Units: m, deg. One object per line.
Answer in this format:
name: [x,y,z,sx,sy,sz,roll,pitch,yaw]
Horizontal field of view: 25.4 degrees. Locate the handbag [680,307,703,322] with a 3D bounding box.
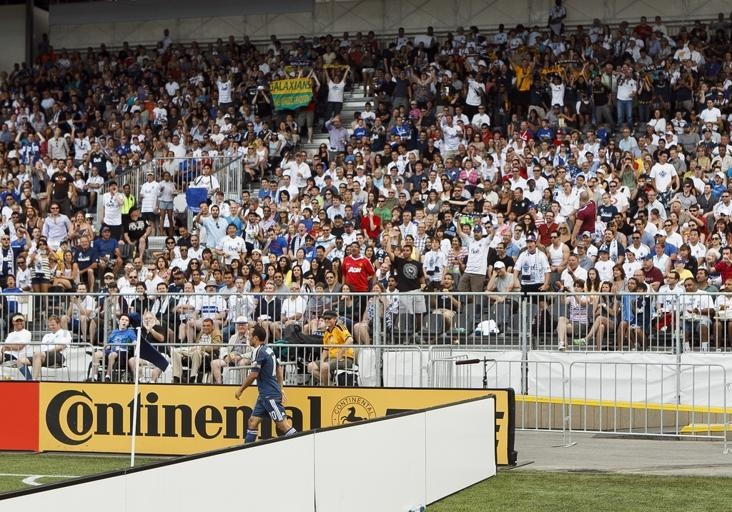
handbag: [6.866,1.213,33.827,0.422,0.256,0.063,10,14,13]

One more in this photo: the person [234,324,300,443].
person: [-1.924,2.446,31.171,1.082,2.125,0.782,6,13,-5]

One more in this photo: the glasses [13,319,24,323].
glasses: [-7.600,1.397,35.435,0.201,0.066,0.069,3,14,-15]

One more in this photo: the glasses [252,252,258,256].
glasses: [-2.546,-0.052,37.515,0.165,0.066,0.103,10,14,15]
